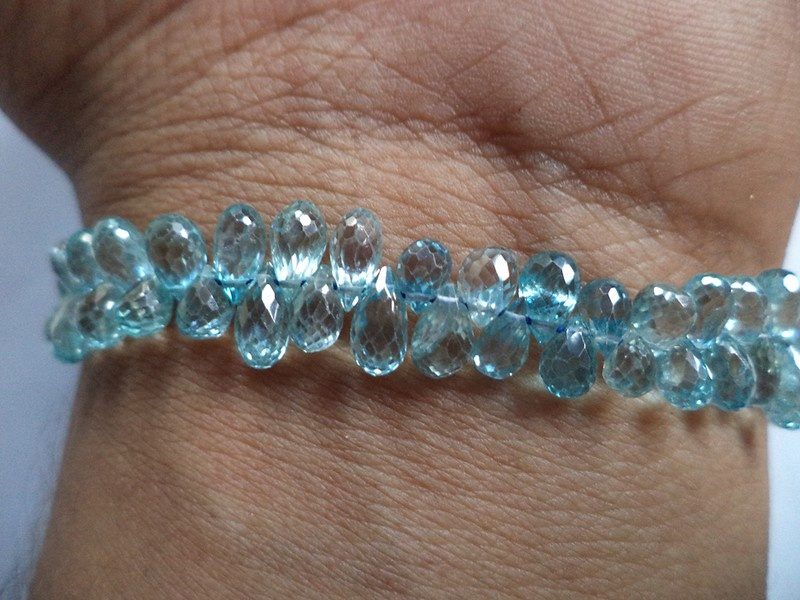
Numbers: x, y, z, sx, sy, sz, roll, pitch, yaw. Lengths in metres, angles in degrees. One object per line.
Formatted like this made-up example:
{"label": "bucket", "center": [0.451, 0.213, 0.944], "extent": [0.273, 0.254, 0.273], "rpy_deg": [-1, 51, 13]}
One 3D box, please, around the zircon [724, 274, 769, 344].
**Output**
{"label": "zircon", "center": [0.527, 0.017, 1.446], "extent": [0.045, 0.072, 0.091], "rpy_deg": [1, 87, 42]}

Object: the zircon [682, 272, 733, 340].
{"label": "zircon", "center": [0.456, 0.006, 1.396], "extent": [0.065, 0.027, 0.095], "rpy_deg": [1, 96, -9]}

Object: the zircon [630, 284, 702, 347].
{"label": "zircon", "center": [0.380, 0.021, 1.366], "extent": [0.074, 0.051, 0.094], "rpy_deg": [2, 97, 2]}

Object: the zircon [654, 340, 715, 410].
{"label": "zircon", "center": [0.415, 0.110, 1.382], "extent": [0.064, 0.054, 0.095], "rpy_deg": [-3, 76, -1]}

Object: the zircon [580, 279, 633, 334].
{"label": "zircon", "center": [0.293, 0.008, 1.359], "extent": [0.066, 0.070, 0.089], "rpy_deg": [1, 96, 9]}
